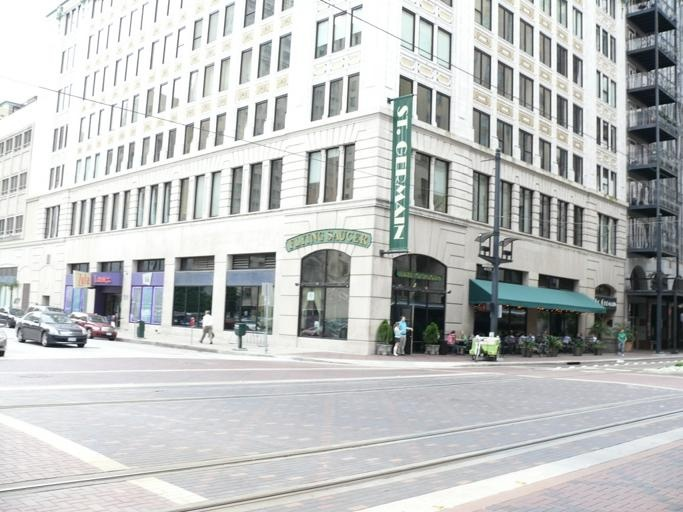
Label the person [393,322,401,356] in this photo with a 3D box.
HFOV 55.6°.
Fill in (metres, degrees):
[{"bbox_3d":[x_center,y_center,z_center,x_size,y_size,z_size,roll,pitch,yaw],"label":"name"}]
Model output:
[{"bbox_3d":[2.614,3.839,29.836,0.353,1.503,0.810,4,-4,5],"label":"person"}]
